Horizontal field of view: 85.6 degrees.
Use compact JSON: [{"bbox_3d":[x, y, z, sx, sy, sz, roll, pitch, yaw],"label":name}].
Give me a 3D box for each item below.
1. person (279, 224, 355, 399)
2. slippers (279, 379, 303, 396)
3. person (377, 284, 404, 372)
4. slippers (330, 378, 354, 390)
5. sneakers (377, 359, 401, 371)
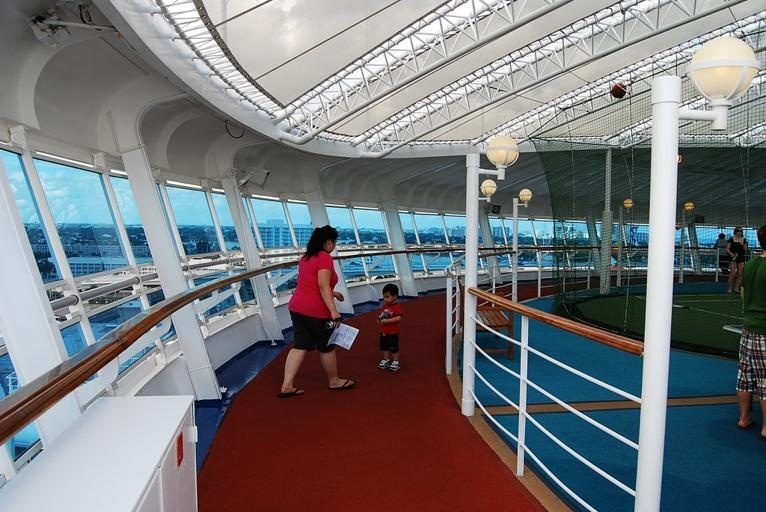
[{"bbox_3d":[-0.783,0.671,5.167,0.769,2.089,0.538,6,9,-5],"label":"person"},{"bbox_3d":[-1.091,1.613,5.130,0.351,0.137,0.118,-6,7,-43],"label":"slippers"},{"bbox_3d":[0.130,1.009,6.252,0.388,1.168,0.975,7,8,2],"label":"person"},{"bbox_3d":[-0.516,1.593,5.240,0.252,0.082,0.128,-2,7,-1],"label":"slippers"},{"bbox_3d":[0.101,1.535,5.948,0.321,0.136,0.180,9,8,17],"label":"sneakers"}]
